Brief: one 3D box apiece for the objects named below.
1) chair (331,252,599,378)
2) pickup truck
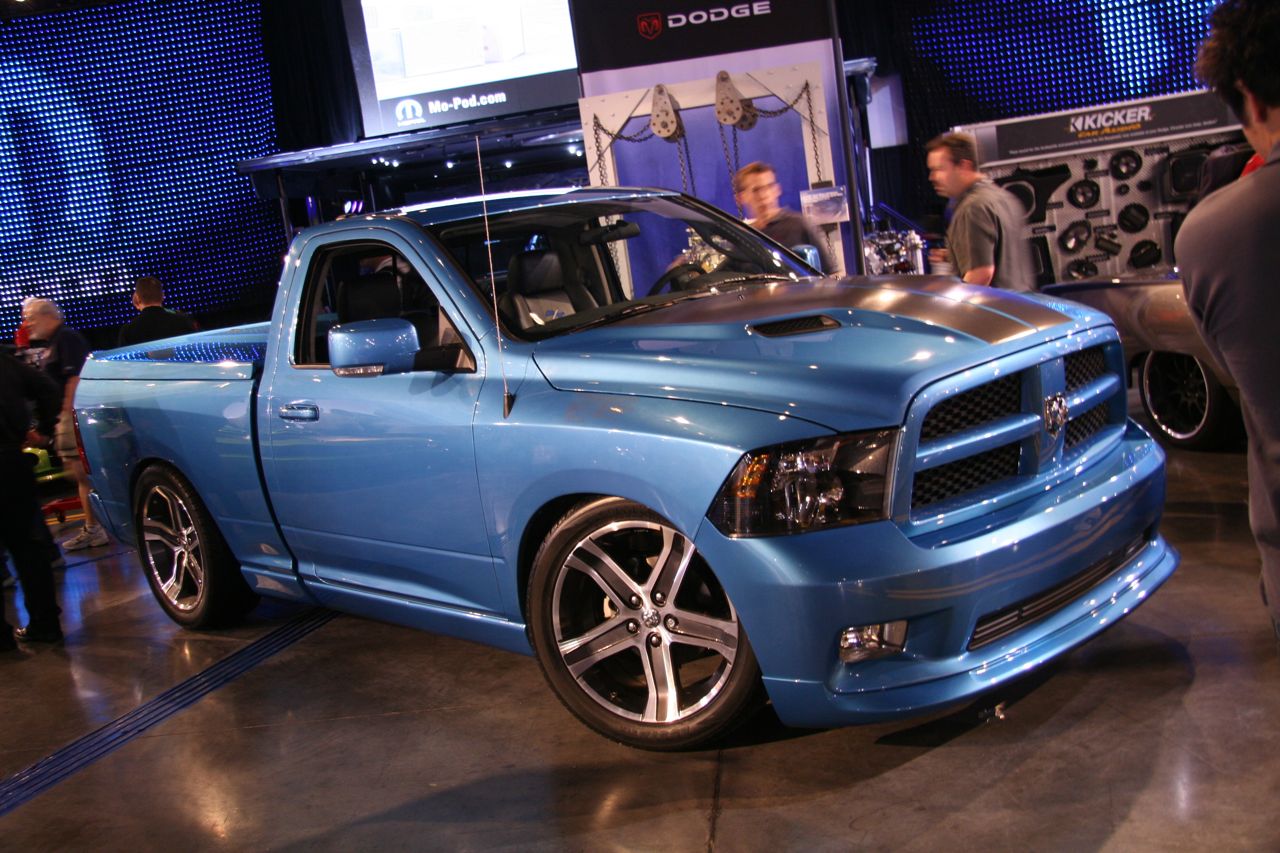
[{"bbox_3d":[-0.948,-0.631,4.420,1.221,0.602,0.707,-5,11,13],"label":"chair"},{"bbox_3d":[-0.477,0.186,4.655,4.939,1.830,2.569,3,8,37],"label":"pickup truck"}]
